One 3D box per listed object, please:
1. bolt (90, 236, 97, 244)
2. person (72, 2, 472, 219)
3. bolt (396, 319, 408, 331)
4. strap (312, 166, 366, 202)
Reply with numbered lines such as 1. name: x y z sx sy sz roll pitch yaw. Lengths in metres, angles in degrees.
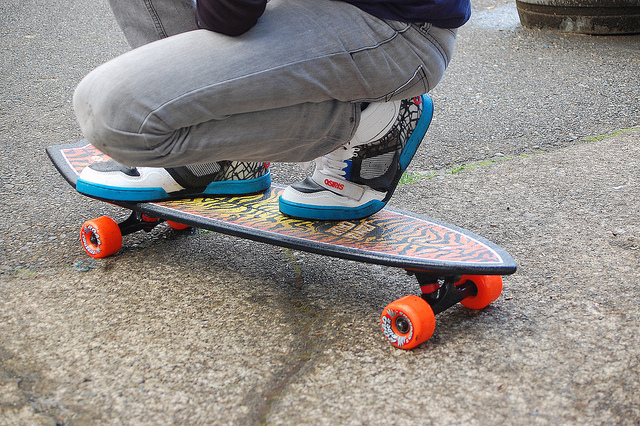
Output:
1. bolt: -1.175 0.138 2.500 0.038 0.039 0.033 -5 48 -3
2. person: -0.495 -0.415 2.252 2.209 0.800 0.838 -6 72 5
3. bolt: 0.335 0.461 1.971 0.032 0.050 0.045 -21 50 -15
4. strap: 0.120 -0.147 2.437 0.345 0.101 0.095 16 24 -4
